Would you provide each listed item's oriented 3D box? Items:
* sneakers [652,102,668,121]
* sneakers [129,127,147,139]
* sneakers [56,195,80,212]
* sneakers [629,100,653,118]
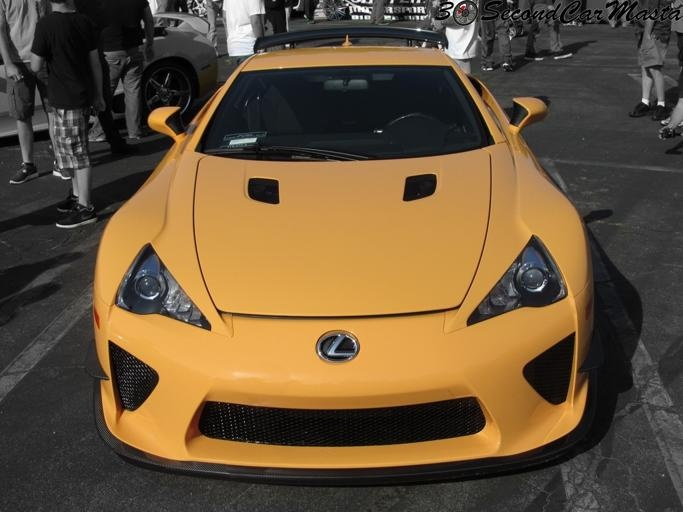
[{"bbox_3d":[5.272,-2.355,8.157,0.188,0.359,0.155,7,-17,12],"label":"sneakers"},{"bbox_3d":[-3.332,-1.981,7.931,0.327,0.149,0.119,-21,59,-31],"label":"sneakers"},{"bbox_3d":[-3.033,-0.570,5.432,0.333,0.130,0.138,-29,18,-27],"label":"sneakers"},{"bbox_3d":[5.088,-2.536,8.366,0.212,0.173,0.438,27,53,37],"label":"sneakers"}]
